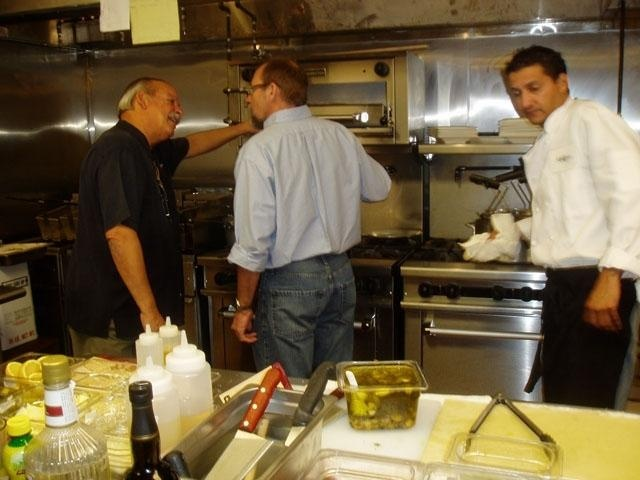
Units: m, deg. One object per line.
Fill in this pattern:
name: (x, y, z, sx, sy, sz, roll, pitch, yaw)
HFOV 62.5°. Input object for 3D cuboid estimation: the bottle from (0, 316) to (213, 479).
bottle: (-0.473, 0.362, 1.299, 0.355, 0.088, 0.360, -1, 9, 0)

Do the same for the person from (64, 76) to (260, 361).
person: (-0.749, -0.116, 2.369, 0.467, 1.178, 0.707, 3, 11, 26)

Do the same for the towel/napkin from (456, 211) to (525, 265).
towel/napkin: (0.852, -0.015, 2.648, 0.282, 0.209, 0.211, -6, 11, 8)
